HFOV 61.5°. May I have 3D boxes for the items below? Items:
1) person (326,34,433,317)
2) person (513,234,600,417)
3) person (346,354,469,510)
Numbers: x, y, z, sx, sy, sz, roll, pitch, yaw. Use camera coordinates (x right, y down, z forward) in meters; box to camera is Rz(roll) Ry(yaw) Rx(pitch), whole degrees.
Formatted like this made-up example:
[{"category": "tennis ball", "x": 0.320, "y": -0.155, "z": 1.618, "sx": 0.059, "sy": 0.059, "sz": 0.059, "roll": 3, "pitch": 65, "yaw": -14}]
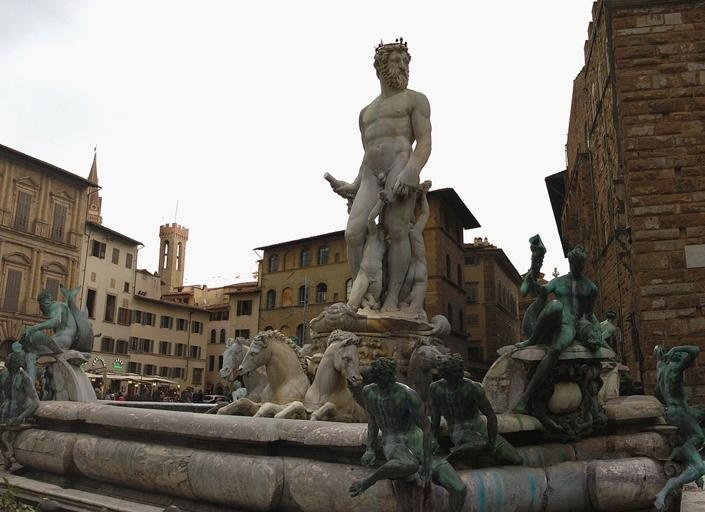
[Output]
[{"category": "person", "x": 0.491, "y": -1.200, "z": 8.941, "sx": 1.368, "sy": 4.226, "sz": 1.195, "roll": 0, "pitch": -20, "yaw": 5}, {"category": "person", "x": 2.238, "y": 0.743, "z": 6.511, "sx": 0.901, "sy": 1.833, "sz": 0.952, "roll": -6, "pitch": -22, "yaw": 22}, {"category": "person", "x": 0.467, "y": 1.571, "z": 5.134, "sx": 0.899, "sy": 1.481, "sz": 0.524, "roll": -13, "pitch": -32, "yaw": 15}]
